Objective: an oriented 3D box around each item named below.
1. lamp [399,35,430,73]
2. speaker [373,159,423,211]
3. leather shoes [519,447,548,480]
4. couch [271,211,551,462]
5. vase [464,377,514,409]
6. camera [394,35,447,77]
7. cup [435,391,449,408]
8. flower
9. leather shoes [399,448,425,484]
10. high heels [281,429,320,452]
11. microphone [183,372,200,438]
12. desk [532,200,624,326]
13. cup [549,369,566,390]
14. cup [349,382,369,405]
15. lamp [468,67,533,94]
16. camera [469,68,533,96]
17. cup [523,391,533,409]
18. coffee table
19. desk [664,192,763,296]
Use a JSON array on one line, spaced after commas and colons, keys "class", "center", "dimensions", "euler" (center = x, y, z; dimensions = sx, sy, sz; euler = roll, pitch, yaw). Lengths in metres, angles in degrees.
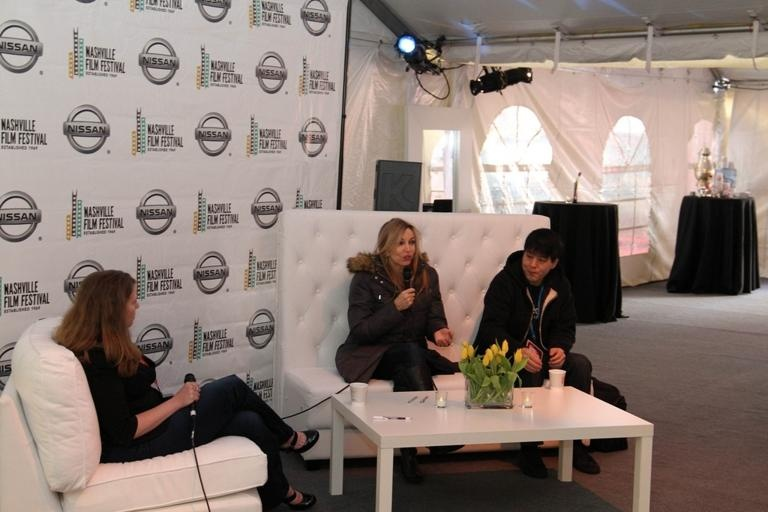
[{"class": "lamp", "center": [0.316, -2.220, 6.321], "dimensions": [0.238, 0.321, 0.306], "euler": [-33, -5, 8]}, {"class": "speaker", "center": [0.131, -0.660, 5.443], "dimensions": [0.416, 0.466, 0.262], "euler": [1, 11, -1]}, {"class": "leather shoes", "center": [0.918, 1.300, 3.610], "dimensions": [0.121, 0.142, 0.196], "euler": [1, -3, -26]}, {"class": "couch", "center": [0.177, 0.868, 4.567], "dimensions": [2.608, 2.187, 1.374], "euler": [1, 1, -14]}, {"class": "vase", "center": [0.566, 0.775, 3.136], "dimensions": [0.263, 0.199, 0.153], "euler": [1, 2, -3]}, {"class": "camera", "center": [0.398, -2.345, 6.480], "dimensions": [0.429, 0.240, 0.572], "euler": [12, 16, 41]}, {"class": "cup", "center": [0.314, 0.800, 3.200], "dimensions": [0.055, 0.068, 0.058], "euler": [0, 0, 0]}, {"class": "flower", "center": [0.594, 0.632, 3.192], "dimensions": [0.336, 0.346, 0.344], "euler": [0, 2, -3]}, {"class": "leather shoes", "center": [0.158, 1.279, 3.492], "dimensions": [0.100, 0.190, 0.246], "euler": [1, -10, -21]}, {"class": "high heels", "center": [-0.488, 1.076, 3.379], "dimensions": [0.212, 0.086, 0.115], "euler": [-7, 1, 35]}, {"class": "microphone", "center": [-0.962, 0.773, 2.874], "dimensions": [0.066, 0.398, 0.067], "euler": [-1, 7, 1]}, {"class": "desk", "center": [2.479, 0.054, 7.479], "dimensions": [1.408, 1.867, 1.449], "euler": [0, 4, 14]}, {"class": "cup", "center": [1.056, 0.772, 3.535], "dimensions": [0.089, 0.098, 0.110], "euler": [-3, -8, 26]}, {"class": "cup", "center": [-0.139, 0.750, 3.127], "dimensions": [0.096, 0.089, 0.107], "euler": [0, -5, 4]}, {"class": "lamp", "center": [1.419, -2.155, 7.192], "dimensions": [0.636, 0.353, 0.382], "euler": [-14, 17, -1]}, {"class": "camera", "center": [1.396, -2.131, 7.161], "dimensions": [0.622, 0.325, 0.381], "euler": [-15, 4, -5]}, {"class": "cup", "center": [0.783, 0.811, 3.206], "dimensions": [0.058, 0.070, 0.062], "euler": [0, -6, 0]}, {"class": "coffee table", "center": [0.552, 1.052, 3.127], "dimensions": [1.659, 0.532, 0.646], "euler": [0, 11, -6]}, {"class": "desk", "center": [5.017, -0.181, 9.117], "dimensions": [1.339, 1.643, 1.435], "euler": [1, 2, 26]}]
